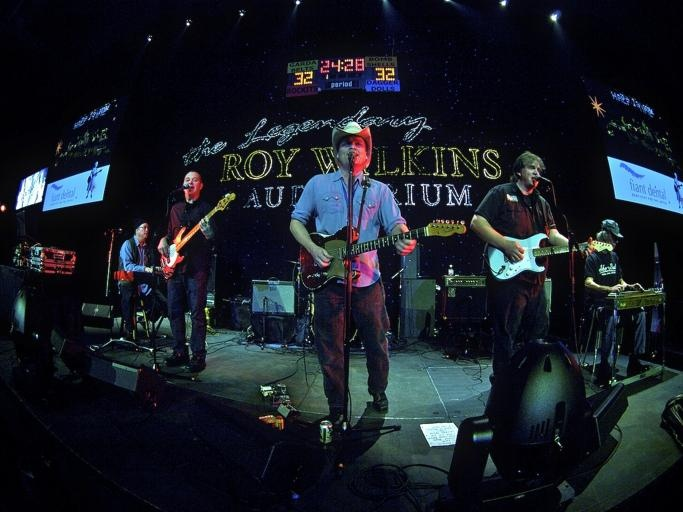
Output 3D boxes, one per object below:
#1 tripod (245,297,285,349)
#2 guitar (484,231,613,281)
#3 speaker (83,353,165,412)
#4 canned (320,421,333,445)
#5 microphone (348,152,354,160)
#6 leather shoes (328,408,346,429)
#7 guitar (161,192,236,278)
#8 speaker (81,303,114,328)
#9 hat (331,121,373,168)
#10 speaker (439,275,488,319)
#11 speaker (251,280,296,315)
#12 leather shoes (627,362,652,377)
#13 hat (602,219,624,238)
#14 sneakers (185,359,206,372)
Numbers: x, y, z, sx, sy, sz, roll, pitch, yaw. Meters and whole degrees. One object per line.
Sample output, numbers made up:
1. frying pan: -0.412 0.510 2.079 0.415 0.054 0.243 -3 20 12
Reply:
1. tripod: -1.280 1.109 8.904 0.851 0.828 0.359 -2 -8 31
2. guitar: 2.580 0.031 6.249 1.673 0.624 0.652 6 -8 -28
3. speaker: -2.504 1.452 5.963 1.013 0.510 0.273 -1 -8 26
4. canned: -0.164 1.805 5.232 0.121 0.226 0.111 1 -7 9
5. microphone: 0.099 -1.053 5.382 0.050 0.077 0.019 -2 -16 6
6. leather shoes: -0.040 1.754 5.507 0.137 0.197 0.401 4 -7 -15
7. guitar: -2.062 -0.295 7.092 0.812 1.145 0.509 4 -7 -13
8. speaker: -4.188 0.998 8.855 0.623 0.522 0.216 5 11 13
9. hat: 0.150 -1.414 5.994 0.444 0.294 0.679 1 -35 1
10. speaker: 1.984 0.689 8.572 0.782 0.855 0.620 2 3 1
11. speaker: -1.195 0.749 9.225 0.824 0.834 0.512 0 -8 1
12. leather shoes: 4.110 1.577 7.074 0.525 0.162 0.198 8 -9 -37
13. hat: 3.859 -0.401 7.266 0.308 0.153 0.228 30 6 1
14. sneakers: -1.979 1.499 7.019 0.120 0.180 0.279 -4 -36 24
